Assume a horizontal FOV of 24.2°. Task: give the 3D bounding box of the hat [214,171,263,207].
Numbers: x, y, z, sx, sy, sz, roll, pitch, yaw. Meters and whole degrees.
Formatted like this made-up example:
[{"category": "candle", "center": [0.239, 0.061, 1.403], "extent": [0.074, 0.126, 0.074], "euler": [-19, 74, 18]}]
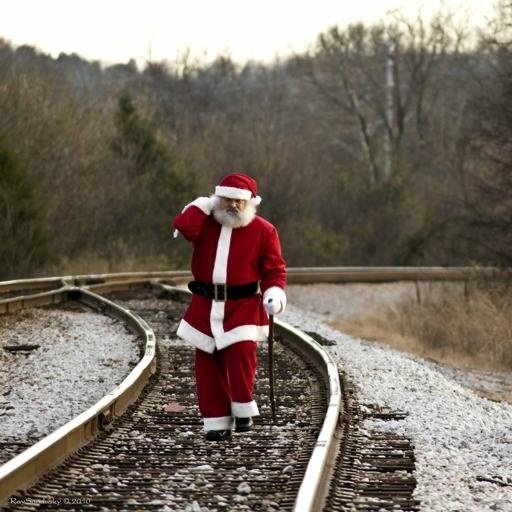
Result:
[{"category": "hat", "center": [-0.280, -0.967, 16.987], "extent": [0.505, 0.419, 0.408], "euler": [11, -7, -18]}]
